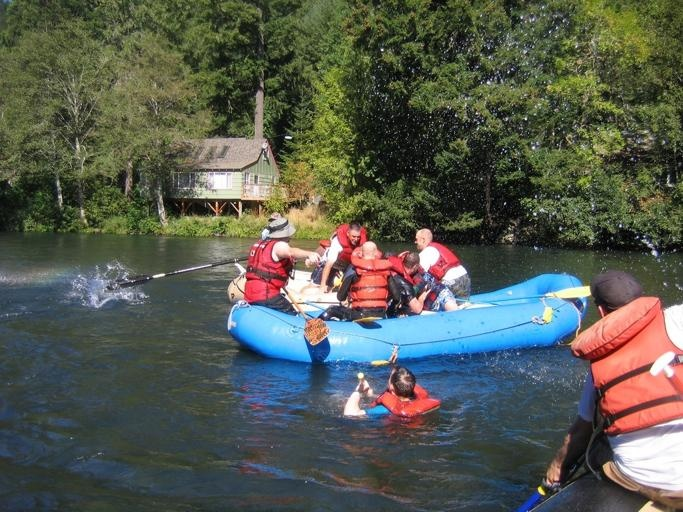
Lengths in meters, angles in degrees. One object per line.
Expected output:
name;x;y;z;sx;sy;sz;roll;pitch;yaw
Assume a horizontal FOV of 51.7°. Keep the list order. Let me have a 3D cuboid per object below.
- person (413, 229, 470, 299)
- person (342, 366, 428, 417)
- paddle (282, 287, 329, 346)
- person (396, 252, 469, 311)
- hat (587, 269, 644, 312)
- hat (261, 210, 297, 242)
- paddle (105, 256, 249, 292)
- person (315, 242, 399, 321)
person;1.461;0.259;11.457;0.874;1.049;0.377;-47;1;-36
person;0.586;1.770;8.760;1.015;0.385;0.786;6;16;22
paddle;-0.523;0.835;10.281;0.367;0.062;1.268;-40;45;5
person;1.409;0.519;11.263;1.356;0.631;0.775;7;25;4
hat;2.291;0.285;5.932;0.287;0.254;0.413;-14;26;5
hat;-0.899;-0.437;10.387;0.387;0.233;0.417;-5;33;30
paddle;-3.708;0.418;15.917;3.134;0.270;0.227;-11;-14;-16
person;0.290;0.376;10.419;1.002;1.182;0.618;3;5;38
